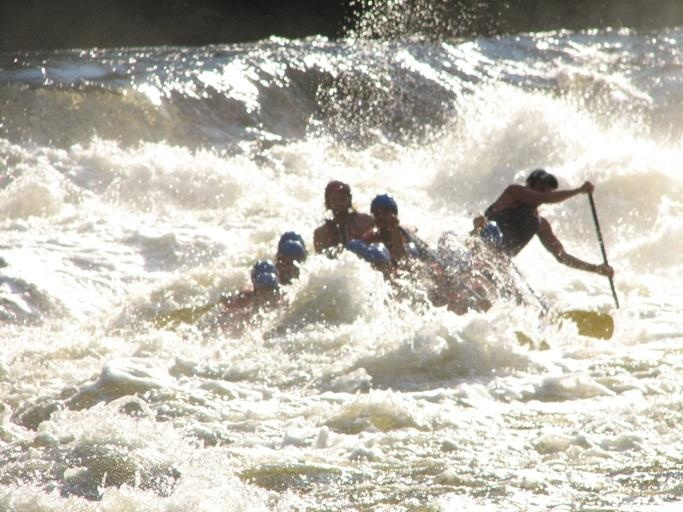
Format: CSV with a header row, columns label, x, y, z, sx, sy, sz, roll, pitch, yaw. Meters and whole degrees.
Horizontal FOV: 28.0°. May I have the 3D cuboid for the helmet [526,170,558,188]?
label,x,y,z,sx,sy,sz,roll,pitch,yaw
helmet,2.514,-0.968,17.194,0.303,0.285,0.237,9,0,-10

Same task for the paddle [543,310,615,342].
label,x,y,z,sx,sy,sz,roll,pitch,yaw
paddle,2.889,0.802,16.584,0.876,0.307,0.435,7,9,34

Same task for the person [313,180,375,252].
label,x,y,z,sx,sy,sz,roll,pitch,yaw
person,0.011,-0.491,18.017,0.905,0.884,0.464,-18,7,-12

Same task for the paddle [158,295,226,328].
label,x,y,z,sx,sy,sz,roll,pitch,yaw
paddle,-1.915,0.704,17.310,0.584,0.294,0.959,8,10,40

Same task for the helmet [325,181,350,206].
label,x,y,z,sx,sy,sz,roll,pitch,yaw
helmet,-0.060,-0.786,17.561,0.363,0.373,0.217,4,8,13

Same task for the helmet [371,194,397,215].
label,x,y,z,sx,sy,sz,roll,pitch,yaw
helmet,0.525,-0.649,16.903,0.312,0.233,0.212,2,7,-4
